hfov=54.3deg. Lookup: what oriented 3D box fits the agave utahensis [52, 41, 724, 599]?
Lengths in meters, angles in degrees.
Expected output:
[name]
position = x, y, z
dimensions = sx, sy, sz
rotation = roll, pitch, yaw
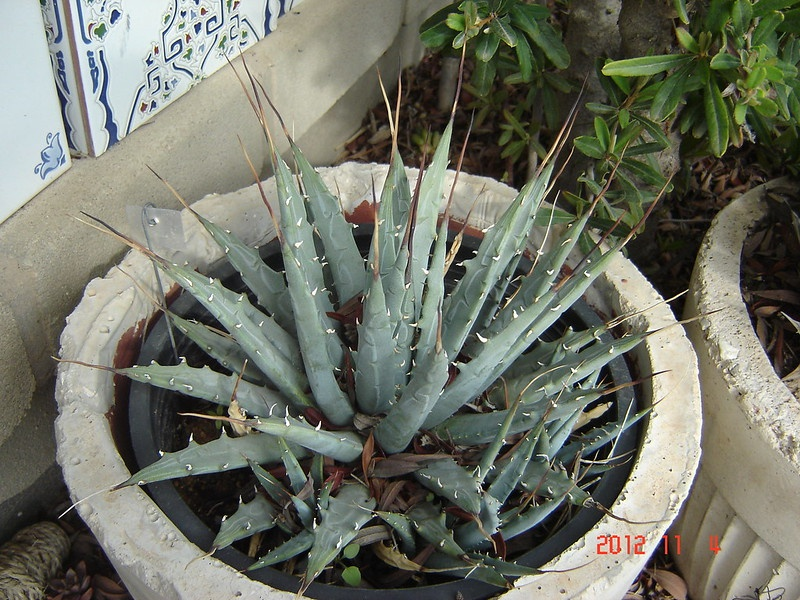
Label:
[agave utahensis]
position = -0.122, 0.310, 2.199
dimensions = 1.267, 0.970, 1.415
rotation = 28, 58, 14
